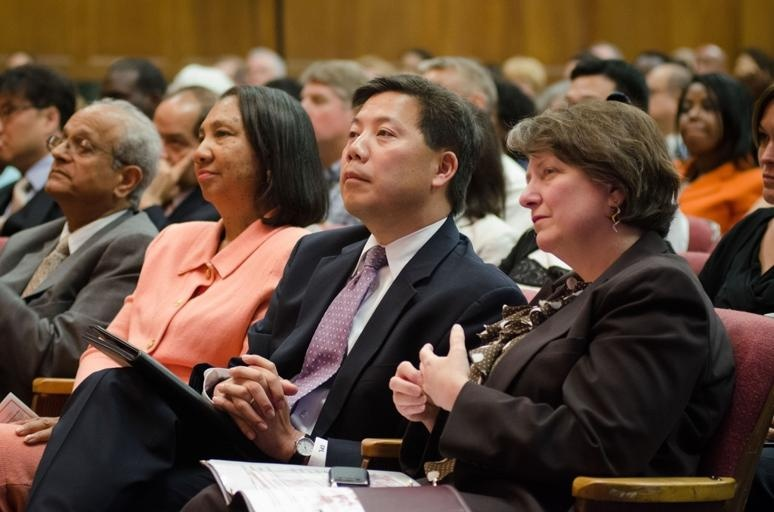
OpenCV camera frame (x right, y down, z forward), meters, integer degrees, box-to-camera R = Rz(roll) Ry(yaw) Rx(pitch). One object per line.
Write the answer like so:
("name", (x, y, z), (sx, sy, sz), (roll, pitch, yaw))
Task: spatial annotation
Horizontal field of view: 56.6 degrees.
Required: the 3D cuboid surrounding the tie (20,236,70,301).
("tie", (-1.644, 0.053, 3.605), (0.090, 0.307, 0.221), (38, -7, -20))
